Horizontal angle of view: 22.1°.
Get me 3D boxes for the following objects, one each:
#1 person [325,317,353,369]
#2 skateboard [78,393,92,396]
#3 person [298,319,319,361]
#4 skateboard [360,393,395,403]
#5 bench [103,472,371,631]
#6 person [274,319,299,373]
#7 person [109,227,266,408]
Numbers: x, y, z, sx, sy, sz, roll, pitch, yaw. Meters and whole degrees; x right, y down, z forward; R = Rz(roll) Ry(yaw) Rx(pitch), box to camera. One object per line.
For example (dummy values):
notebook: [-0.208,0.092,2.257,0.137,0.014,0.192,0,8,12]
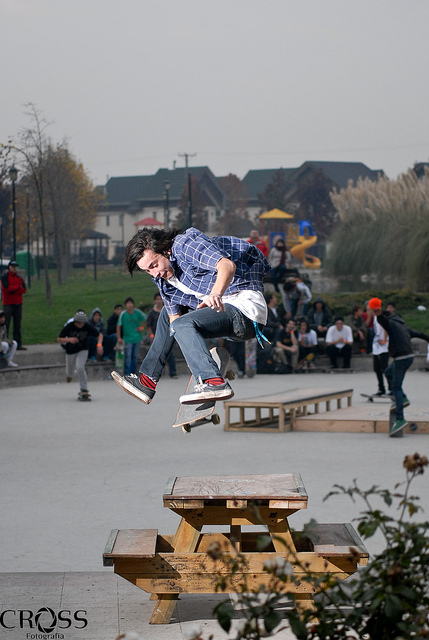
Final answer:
person: [2.351,0.454,20.800,0.474,1.015,1.102,2,3,6]
skateboard: [-1.899,1.066,15.861,0.189,0.037,0.106,0,1,9]
person: [1.823,0.397,21.328,0.349,0.768,0.943,2,3,10]
skateboard: [2.178,1.026,14.862,0.595,0.088,0.189,1,3,9]
bench: [0.117,1.158,5.760,1.312,0.594,0.891,1,1,3]
person: [1.368,0.514,20.914,0.476,1.049,0.884,1,3,4]
person: [-0.181,0.002,6.174,0.878,1.049,0.840,3,4,24]
